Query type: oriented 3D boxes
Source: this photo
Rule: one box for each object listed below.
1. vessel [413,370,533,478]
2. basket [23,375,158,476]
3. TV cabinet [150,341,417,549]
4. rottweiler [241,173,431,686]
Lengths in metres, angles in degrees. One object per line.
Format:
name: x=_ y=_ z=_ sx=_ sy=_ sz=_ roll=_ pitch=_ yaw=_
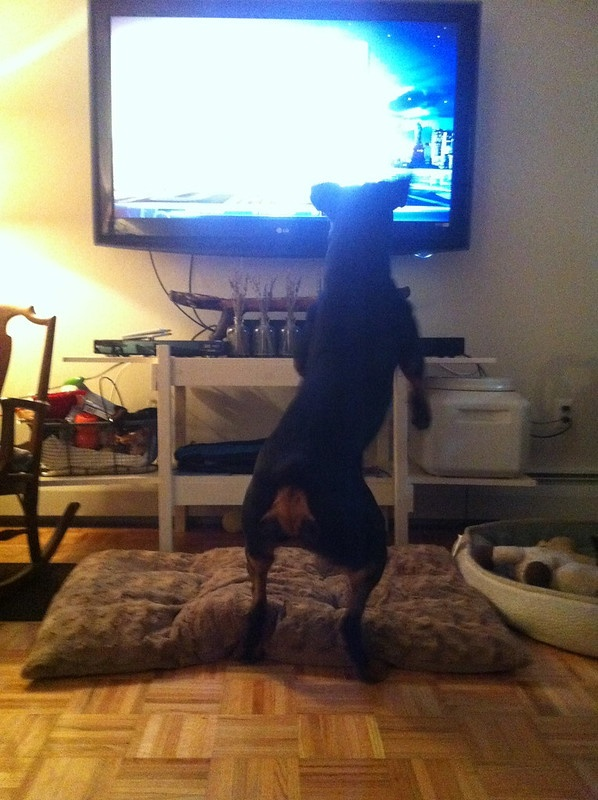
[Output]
vessel: x=0.468 y=0.059 z=2.047 sx=0.362 sy=0.248 sz=0.372 roll=8 pitch=9 yaw=37
basket: x=-0.527 y=0.086 z=1.831 sx=0.209 sy=0.136 sz=0.311 roll=0 pitch=-4 yaw=-2
TV cabinet: x=-0.012 y=0.122 z=2.180 sx=0.439 sy=0.536 sz=0.728 roll=7 pitch=6 yaw=39
rottweiler: x=0.027 y=0.083 z=0.959 sx=0.211 sy=0.698 sz=0.325 roll=-2 pitch=9 yaw=-6
